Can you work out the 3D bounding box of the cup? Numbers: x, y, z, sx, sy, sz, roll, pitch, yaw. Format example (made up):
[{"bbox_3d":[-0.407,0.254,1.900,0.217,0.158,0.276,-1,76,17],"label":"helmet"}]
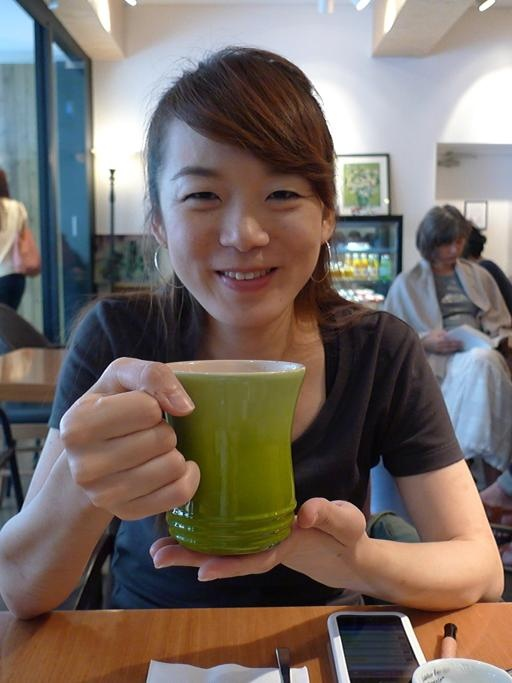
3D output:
[{"bbox_3d":[-0.018,0.105,0.520,0.120,0.167,0.071,0,7,-10],"label":"cup"}]
